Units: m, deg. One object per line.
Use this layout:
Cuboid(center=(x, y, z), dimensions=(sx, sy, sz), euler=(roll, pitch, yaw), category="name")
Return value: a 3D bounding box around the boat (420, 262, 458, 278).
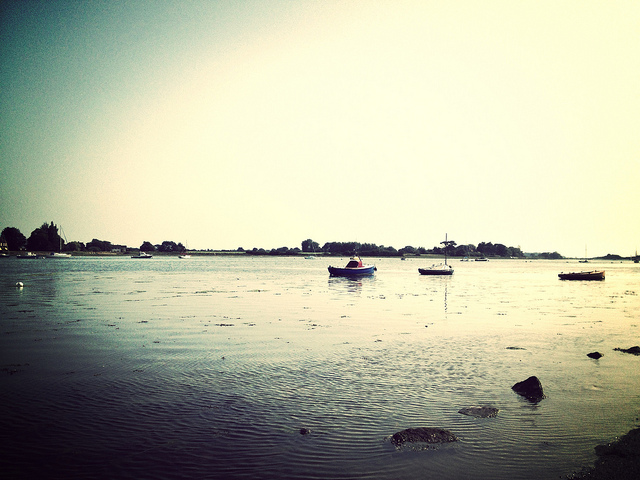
Cuboid(center=(28.906, 6.630, 151.972), dimensions=(6.625, 3.079, 2.433), euler=(1, 6, 0), category="boat")
